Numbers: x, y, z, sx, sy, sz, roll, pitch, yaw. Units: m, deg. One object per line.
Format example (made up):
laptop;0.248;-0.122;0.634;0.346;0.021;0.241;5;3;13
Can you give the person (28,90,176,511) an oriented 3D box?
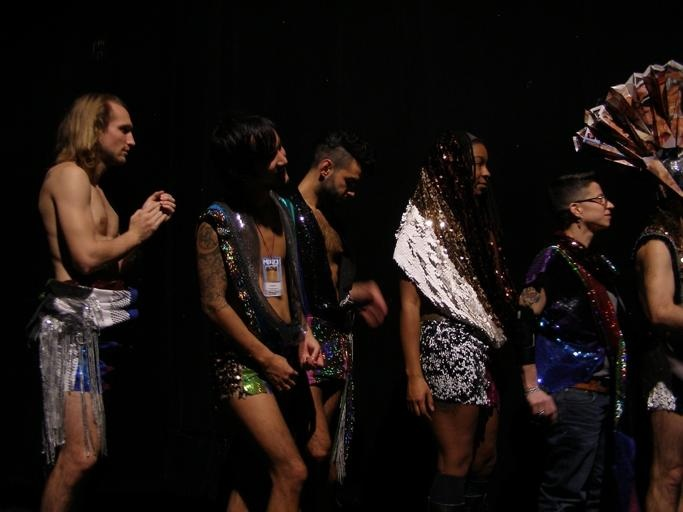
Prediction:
person;-1.149;0.199;3.429;0.563;1.979;0.308;0;-1;-23

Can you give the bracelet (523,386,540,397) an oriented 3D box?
bracelet;0.971;0.691;3.671;0.051;0.012;0.053;-28;-2;7

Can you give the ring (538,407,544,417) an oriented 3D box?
ring;1.013;0.798;3.657;0.053;0.050;0.017;-1;0;5
